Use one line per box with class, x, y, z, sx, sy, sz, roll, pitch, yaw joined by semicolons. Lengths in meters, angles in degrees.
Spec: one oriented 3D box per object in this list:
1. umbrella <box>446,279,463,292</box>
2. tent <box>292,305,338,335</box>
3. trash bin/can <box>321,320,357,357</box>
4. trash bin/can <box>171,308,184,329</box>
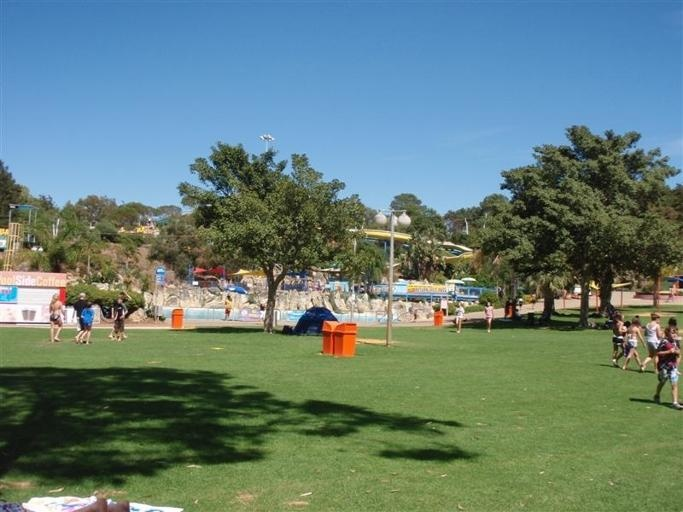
umbrella;15.309;3.938;78.022;1.986;1.243;1.871;-1;-8;5
tent;-1.656;3.746;32.888;1.988;1.291;1.994;1;-10;1
trash bin/can;-0.137;3.183;22.083;1.314;1.306;0.801;0;-5;17
trash bin/can;-10.251;3.930;35.607;0.658;1.158;0.576;3;-5;-27
